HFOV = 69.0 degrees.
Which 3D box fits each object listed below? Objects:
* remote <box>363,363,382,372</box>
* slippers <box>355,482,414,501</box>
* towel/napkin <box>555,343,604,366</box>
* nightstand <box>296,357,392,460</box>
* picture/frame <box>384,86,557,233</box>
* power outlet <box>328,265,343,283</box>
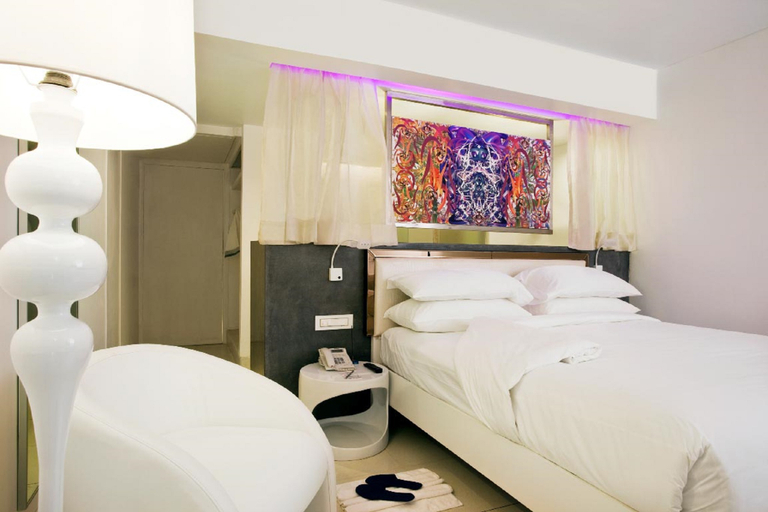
[{"bbox_3d":[-0.075,0.767,3.868,0.040,0.034,0.199,34,-9,-22],"label":"remote"},{"bbox_3d":[0.013,1.347,3.188,0.200,0.047,0.120,-3,-6,16],"label":"slippers"},{"bbox_3d":[1.049,0.499,2.955,0.146,0.046,0.131,-3,-2,-20],"label":"towel/napkin"},{"bbox_3d":[-0.271,1.026,3.909,0.640,0.558,0.567,-1,4,-12],"label":"nightstand"},{"bbox_3d":[0.664,-0.819,4.697,1.212,0.757,0.040,1,0,-20],"label":"picture/frame"},{"bbox_3d":[-0.351,0.130,4.169,0.118,0.124,0.066,-3,10,-19],"label":"power outlet"}]
